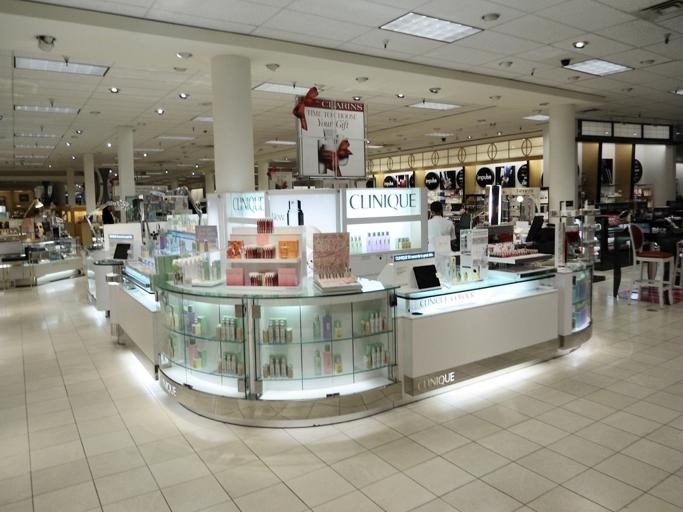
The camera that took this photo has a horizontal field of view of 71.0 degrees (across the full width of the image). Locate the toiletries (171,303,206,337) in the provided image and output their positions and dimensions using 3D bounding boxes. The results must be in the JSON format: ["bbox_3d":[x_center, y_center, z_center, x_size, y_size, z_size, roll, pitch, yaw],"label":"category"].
[{"bbox_3d":[-1.770,0.743,5.528,0.384,0.348,0.213,10,14,39],"label":"toiletries"}]

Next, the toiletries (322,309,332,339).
[{"bbox_3d":[-0.161,0.760,5.204,0.123,0.324,0.075,-4,14,-4],"label":"toiletries"}]

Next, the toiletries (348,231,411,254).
[{"bbox_3d":[0.685,-0.244,8.388,1.207,0.401,0.207,-10,15,-30],"label":"toiletries"}]

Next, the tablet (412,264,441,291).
[{"bbox_3d":[0.995,0.265,5.634,0.310,0.287,0.069,-4,-12,-27],"label":"tablet"}]

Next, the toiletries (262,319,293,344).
[{"bbox_3d":[-0.687,0.825,5.225,0.355,0.319,0.248,1,8,1],"label":"toiletries"}]

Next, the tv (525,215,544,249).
[{"bbox_3d":[4.557,-0.593,11.205,0.257,0.901,1.082,9,19,32],"label":"tv"}]

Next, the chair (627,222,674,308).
[{"bbox_3d":[6.513,0.033,9.983,0.854,1.640,3.024,6,15,33],"label":"chair"}]

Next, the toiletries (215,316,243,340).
[{"bbox_3d":[-1.232,0.794,5.228,0.276,0.257,0.152,7,13,31],"label":"toiletries"}]

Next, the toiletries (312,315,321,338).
[{"bbox_3d":[-0.277,0.770,5.203,0.104,0.244,0.056,-5,14,-8],"label":"toiletries"}]

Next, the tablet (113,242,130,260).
[{"bbox_3d":[-4.042,-0.082,8.724,0.348,0.330,0.023,2,-19,27],"label":"tablet"}]

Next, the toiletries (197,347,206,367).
[{"bbox_3d":[-1.634,1.180,5.486,0.120,0.211,0.055,1,14,15],"label":"toiletries"}]

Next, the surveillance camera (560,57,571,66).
[{"bbox_3d":[3.978,-3.439,8.476,0.120,0.045,0.159,0,7,8],"label":"surveillance camera"}]
